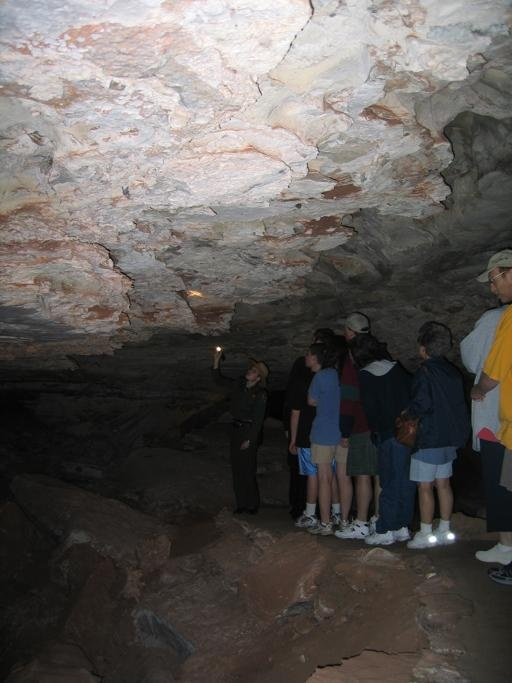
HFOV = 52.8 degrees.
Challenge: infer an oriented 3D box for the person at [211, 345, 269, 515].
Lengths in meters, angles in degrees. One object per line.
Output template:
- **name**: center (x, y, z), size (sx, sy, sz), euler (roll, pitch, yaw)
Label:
- **person**: center (-0.068, 0.848, 4.545), size (0.325, 1.344, 0.339), euler (0, -2, -5)

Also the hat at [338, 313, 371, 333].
- **hat**: center (0.787, -0.142, 4.024), size (0.174, 0.119, 0.211), euler (-6, 27, -5)

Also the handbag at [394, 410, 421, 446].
- **handbag**: center (0.933, 0.535, 3.155), size (0.147, 0.232, 0.198), euler (12, -17, -7)

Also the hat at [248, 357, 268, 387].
- **hat**: center (0.026, 0.279, 4.503), size (0.127, 0.221, 0.227), euler (-2, -2, 36)

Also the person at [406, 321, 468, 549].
- **person**: center (1.113, 0.585, 3.208), size (0.410, 1.412, 0.243), euler (1, -3, -23)
